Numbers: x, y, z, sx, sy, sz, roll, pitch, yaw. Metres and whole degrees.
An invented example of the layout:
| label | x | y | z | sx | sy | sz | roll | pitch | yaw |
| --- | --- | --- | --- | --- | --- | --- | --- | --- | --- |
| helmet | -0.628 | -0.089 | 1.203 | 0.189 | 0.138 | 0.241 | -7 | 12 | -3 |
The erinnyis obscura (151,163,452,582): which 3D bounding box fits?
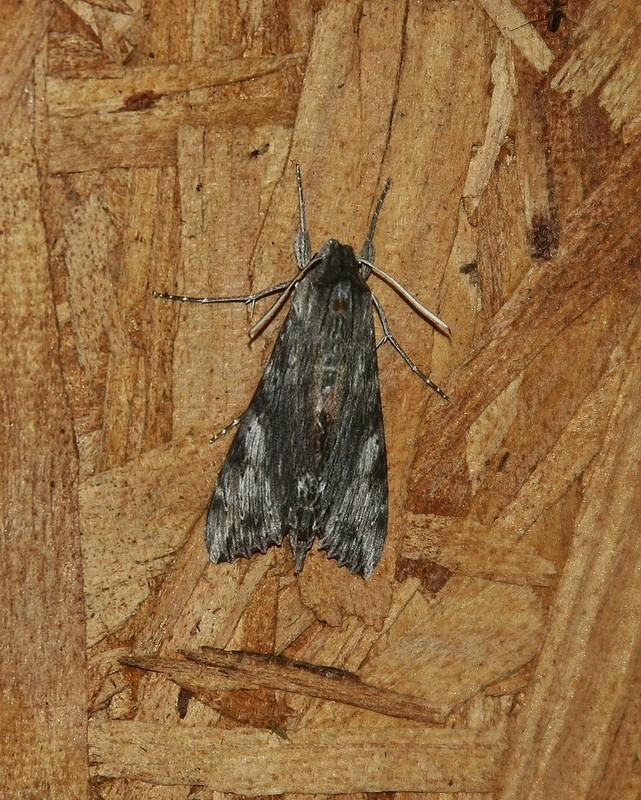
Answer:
| label | x | y | z | sx | sy | sz | roll | pitch | yaw |
| --- | --- | --- | --- | --- | --- | --- | --- | --- | --- |
| erinnyis obscura | -0.083 | -0.055 | 4.731 | 0.557 | 1.067 | 0.240 | 3 | 1 | -3 |
